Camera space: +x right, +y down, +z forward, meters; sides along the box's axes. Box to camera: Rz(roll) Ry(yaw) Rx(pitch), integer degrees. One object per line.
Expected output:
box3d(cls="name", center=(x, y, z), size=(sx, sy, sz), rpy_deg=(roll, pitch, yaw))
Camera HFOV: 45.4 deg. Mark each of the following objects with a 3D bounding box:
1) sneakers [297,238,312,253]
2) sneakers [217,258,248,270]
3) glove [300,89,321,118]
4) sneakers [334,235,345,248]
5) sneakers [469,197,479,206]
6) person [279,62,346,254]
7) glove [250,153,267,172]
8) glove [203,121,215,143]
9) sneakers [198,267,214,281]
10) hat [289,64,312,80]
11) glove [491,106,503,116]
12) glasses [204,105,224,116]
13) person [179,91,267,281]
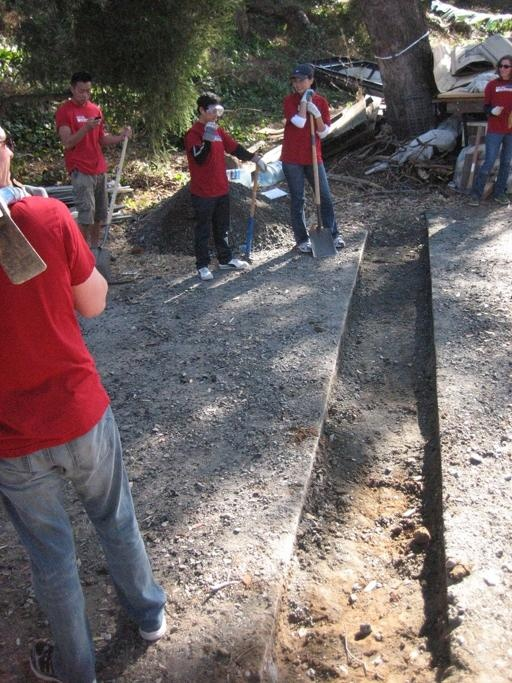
box3d(cls="sneakers", center=(0.516, -0.981, 6.403), size=(0.090, 0.074, 0.184), rpy_deg=(-14, 22, -21))
box3d(cls="sneakers", center=(-0.230, -0.772, 6.140), size=(0.298, 0.110, 0.111), rpy_deg=(0, 35, 0))
box3d(cls="glove", center=(0.497, -2.207, 5.702), size=(0.098, 0.252, 0.197), rpy_deg=(2, 22, 36))
box3d(cls="sneakers", center=(0.879, -1.024, 6.397), size=(0.076, 0.078, 0.182), rpy_deg=(-3, 13, 4))
box3d(cls="sneakers", center=(2.689, -1.710, 7.526), size=(0.078, 0.073, 0.173), rpy_deg=(-2, 17, 11))
box3d(cls="person", center=(0.519, -1.771, 6.103), size=(0.536, 1.798, 0.615), rpy_deg=(-7, 16, 8))
box3d(cls="glove", center=(0.024, -1.700, 5.826), size=(0.067, 0.131, 0.183), rpy_deg=(-35, -15, 0))
box3d(cls="glove", center=(-0.381, -1.789, 5.260), size=(0.061, 0.153, 0.121), rpy_deg=(-5, 0, 36))
box3d(cls="sneakers", center=(-0.486, -0.637, 5.876), size=(0.096, 0.075, 0.166), rpy_deg=(-8, 14, -9))
box3d(cls="hat", center=(0.447, -2.515, 5.753), size=(0.149, 0.106, 0.221), rpy_deg=(11, 20, 24))
box3d(cls="glove", center=(2.732, -2.614, 6.999), size=(0.089, 0.111, 0.116), rpy_deg=(-3, 41, -2))
box3d(cls="glasses", center=(-0.347, -1.983, 5.258), size=(0.131, 0.072, 0.089), rpy_deg=(0, 6, 2))
box3d(cls="person", center=(-0.369, -1.391, 5.666), size=(0.731, 1.644, 0.622), rpy_deg=(-5, 17, 14))
